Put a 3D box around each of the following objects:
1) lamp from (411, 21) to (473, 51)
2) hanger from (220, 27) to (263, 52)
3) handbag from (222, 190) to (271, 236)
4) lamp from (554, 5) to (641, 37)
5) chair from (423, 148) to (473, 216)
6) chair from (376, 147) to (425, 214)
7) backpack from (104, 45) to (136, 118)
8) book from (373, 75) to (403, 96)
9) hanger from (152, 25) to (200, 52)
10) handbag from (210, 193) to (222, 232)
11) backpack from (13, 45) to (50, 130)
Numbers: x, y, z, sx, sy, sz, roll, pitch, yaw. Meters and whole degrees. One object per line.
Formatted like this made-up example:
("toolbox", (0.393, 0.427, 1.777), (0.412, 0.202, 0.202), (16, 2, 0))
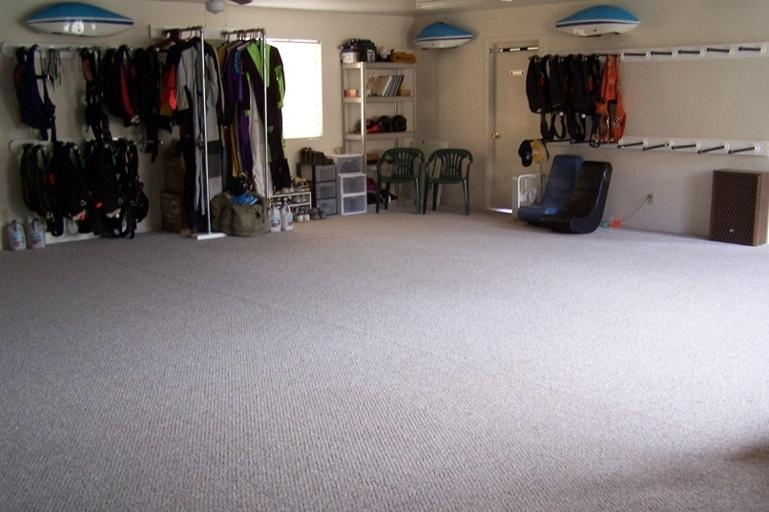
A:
("lamp", (1.055, -3.954, 9.473), (0.663, 0.348, 0.610), (-1, 15, -2))
("hanger", (-2.189, -3.381, 8.127), (0.386, 0.298, 0.990), (-14, 22, -39))
("handbag", (-2.100, -0.633, 7.939), (0.550, 0.473, 0.619), (-4, 10, -9))
("lamp", (3.108, -3.447, 7.751), (0.790, 0.293, 0.541), (5, 30, 27))
("chair", (1.145, -1.399, 9.539), (0.829, 1.094, 1.223), (2, 16, 8))
("chair", (0.311, -1.465, 9.765), (0.860, 1.121, 1.473), (1, 16, 4))
("backpack", (-3.767, -2.434, 7.508), (0.367, 1.060, 0.218), (-8, 16, -29))
("book", (0.137, -3.254, 10.031), (0.463, 0.486, 0.108), (10, 1, 37))
("hanger", (-2.933, -3.249, 7.781), (0.555, 0.325, 0.829), (-15, 22, -41))
("handbag", (-2.485, -0.633, 7.881), (0.098, 0.478, 0.319), (3, 3, -1))
("backpack", (-4.676, -2.249, 7.045), (0.418, 1.059, 0.312), (-4, 14, -15))
